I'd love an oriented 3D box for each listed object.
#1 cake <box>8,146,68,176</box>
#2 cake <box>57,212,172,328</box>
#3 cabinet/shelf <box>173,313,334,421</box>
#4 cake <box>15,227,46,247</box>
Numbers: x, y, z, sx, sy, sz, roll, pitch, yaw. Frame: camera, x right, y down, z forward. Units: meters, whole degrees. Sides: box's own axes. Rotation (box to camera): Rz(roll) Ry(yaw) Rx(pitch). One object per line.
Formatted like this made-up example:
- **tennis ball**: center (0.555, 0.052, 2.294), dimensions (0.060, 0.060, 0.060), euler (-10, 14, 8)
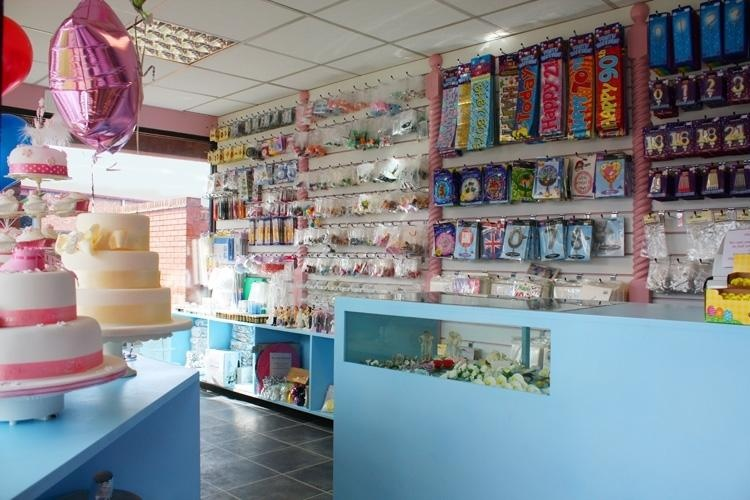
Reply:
- **cake**: center (-1.729, -0.422, 2.624), dimensions (0.212, 0.093, 0.210), euler (-1, 2, -44)
- **cake**: center (-1.446, 0.104, 2.951), dimensions (0.663, 0.525, 0.642), euler (1, 1, -25)
- **cabinet/shelf**: center (-1.253, 1.244, 5.962), dimensions (2.549, 1.136, 0.561), euler (2, 0, 39)
- **cake**: center (-1.529, -0.055, 2.282), dimensions (0.096, 0.077, 0.091), euler (0, -5, 1)
